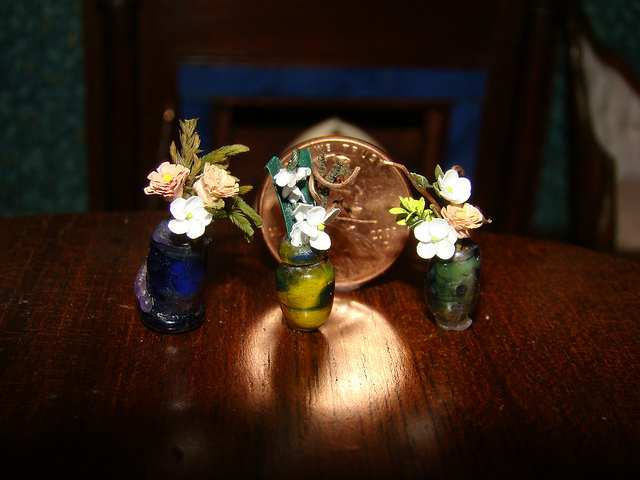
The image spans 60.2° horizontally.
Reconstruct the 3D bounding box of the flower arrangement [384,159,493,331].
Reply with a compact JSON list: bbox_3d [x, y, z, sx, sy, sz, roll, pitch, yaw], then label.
[{"bbox_3d":[0.204,-0.005,0.994,0.201,0.288,0.181,6,30,8],"label":"flower arrangement"}]

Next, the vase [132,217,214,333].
[{"bbox_3d":[-0.256,0.060,0.981,0.123,0.175,0.112,-10,24,-44],"label":"vase"}]

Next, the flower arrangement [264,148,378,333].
[{"bbox_3d":[-0.008,-0.019,0.993,0.181,0.305,0.242,11,31,16],"label":"flower arrangement"}]

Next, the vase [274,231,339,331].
[{"bbox_3d":[-0.025,0.067,0.973,0.105,0.180,0.112,16,25,41],"label":"vase"}]

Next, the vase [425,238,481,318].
[{"bbox_3d":[0.228,0.063,0.950,0.082,0.127,0.084,-13,27,-21],"label":"vase"}]

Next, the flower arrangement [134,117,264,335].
[{"bbox_3d":[-0.219,-0.045,0.974,0.238,0.346,0.214,-2,30,-7],"label":"flower arrangement"}]

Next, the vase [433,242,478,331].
[{"bbox_3d":[0.246,0.090,0.991,0.078,0.144,0.079,-11,19,-29],"label":"vase"}]
